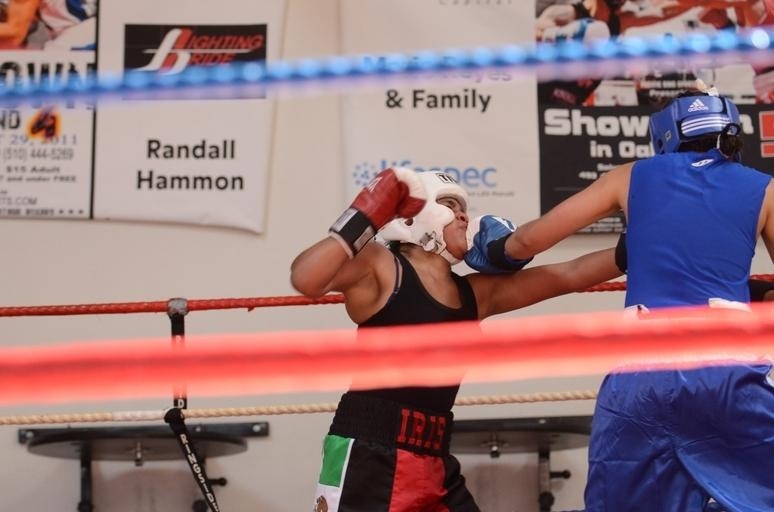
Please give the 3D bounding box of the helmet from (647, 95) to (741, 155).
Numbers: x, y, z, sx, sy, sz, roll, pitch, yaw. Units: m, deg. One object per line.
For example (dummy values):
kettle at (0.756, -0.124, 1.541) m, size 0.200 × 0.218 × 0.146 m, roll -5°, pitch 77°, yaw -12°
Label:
helmet at (1.356, -0.592, 5.022) m, size 0.268 × 0.283 × 0.323 m, roll -1°, pitch -18°, yaw -5°

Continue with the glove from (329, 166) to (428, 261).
glove at (-0.021, -0.212, 4.881) m, size 0.313 × 0.456 × 0.183 m, roll 35°, pitch -14°, yaw 12°

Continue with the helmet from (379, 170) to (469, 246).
helmet at (0.173, -0.196, 5.213) m, size 0.392 × 0.359 × 0.287 m, roll 16°, pitch -18°, yaw 20°
